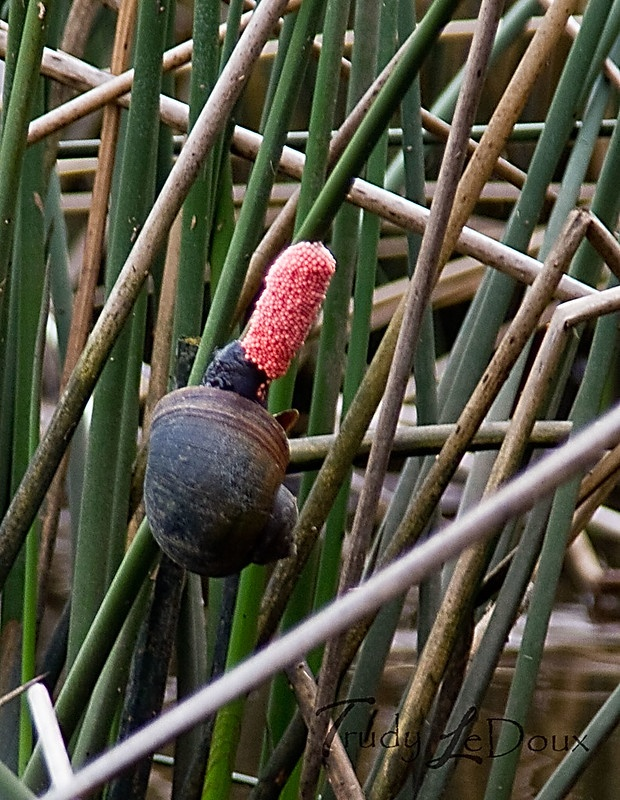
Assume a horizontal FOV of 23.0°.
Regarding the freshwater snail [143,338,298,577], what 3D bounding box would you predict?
[{"bbox_3d":[-0.037,0.027,0.650,0.057,0.128,0.062,4,-22,-8],"label":"freshwater snail"}]
